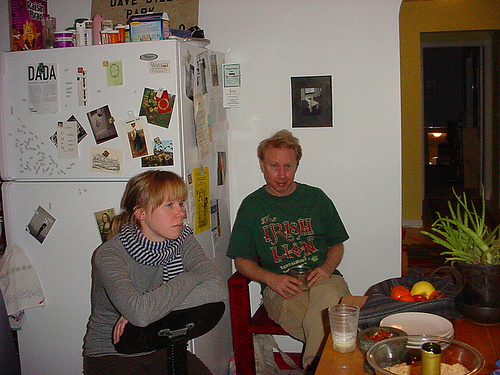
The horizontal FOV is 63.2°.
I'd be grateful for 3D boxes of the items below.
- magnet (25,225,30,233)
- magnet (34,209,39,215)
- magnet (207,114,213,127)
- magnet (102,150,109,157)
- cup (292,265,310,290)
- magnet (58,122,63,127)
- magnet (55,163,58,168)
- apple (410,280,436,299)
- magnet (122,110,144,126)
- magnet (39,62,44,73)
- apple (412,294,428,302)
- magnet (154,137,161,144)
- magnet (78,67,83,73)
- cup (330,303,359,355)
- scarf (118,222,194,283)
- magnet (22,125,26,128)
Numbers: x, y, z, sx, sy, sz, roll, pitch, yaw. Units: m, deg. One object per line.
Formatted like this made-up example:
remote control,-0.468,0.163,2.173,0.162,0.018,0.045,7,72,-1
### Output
magnet,-1.303,0.244,2.393,0.033,0.036,0.009,-34,-15,34
magnet,-1.240,0.139,2.368,0.012,0.043,0.010,-29,-23,-25
magnet,-0.245,-0.418,2.524,0.016,0.058,0.056,-2,-10,22
magnet,-0.794,-0.186,2.235,0.027,0.027,0.007,41,12,1
cup,0.275,0.478,2.186,0.115,0.120,0.112,1,2,0
magnet,-1.067,-0.356,2.294,0.024,0.021,0.006,0,-2,3
magnet,-1.106,-0.126,2.328,0.018,0.028,0.004,0,10,21
apple,0.740,0.436,1.747,0.068,0.066,0.067,15,-9,-41
magnet,-0.622,-0.372,2.186,0.080,0.047,0.008,-19,3,0
magnet,-1.177,-0.674,2.302,0.033,0.053,0.009,-1,10,15
apple,0.701,0.445,1.672,0.036,0.035,0.036,3,-9,-42
magnet,-0.493,-0.254,2.171,0.033,0.031,0.007,5,13,10
magnet,-0.932,-0.645,2.238,0.028,0.030,0.005,-1,10,15
cup,0.323,0.498,1.435,0.111,0.159,0.111,1,3,0
scarf,-0.424,0.286,1.778,0.156,0.314,0.258,3,9,41
magnet,-1.305,-0.356,2.355,0.032,0.016,0.008,4,5,1
